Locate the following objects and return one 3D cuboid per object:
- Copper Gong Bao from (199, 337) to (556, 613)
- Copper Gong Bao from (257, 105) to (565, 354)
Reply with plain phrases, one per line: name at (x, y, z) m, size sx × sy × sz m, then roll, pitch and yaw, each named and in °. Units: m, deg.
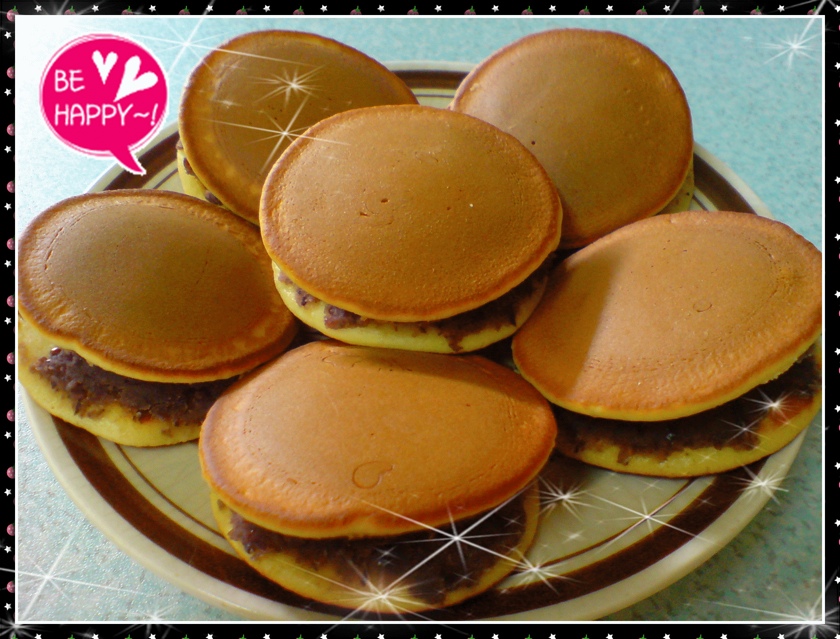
Copper Gong Bao at (-0.061, 0.178, 0.894) m, size 0.397 × 0.103 × 0.278 m, roll 9°, pitch 73°, yaw 8°
Copper Gong Bao at (0.024, -0.068, 1.017) m, size 0.346 × 0.095 × 0.331 m, roll 8°, pitch 35°, yaw 35°
